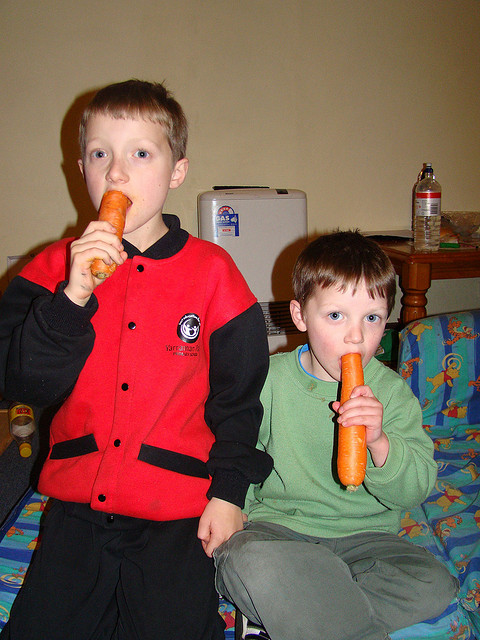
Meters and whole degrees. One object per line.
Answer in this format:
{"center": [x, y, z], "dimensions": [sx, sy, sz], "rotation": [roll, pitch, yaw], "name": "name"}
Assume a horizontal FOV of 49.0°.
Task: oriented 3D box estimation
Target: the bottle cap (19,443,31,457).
{"center": [-0.960, 0.579, 2.336], "dimensions": [0.054, 0.051, 0.039], "rotation": [-12, 16, -3], "name": "bottle cap"}

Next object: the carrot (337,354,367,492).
{"center": [0.200, 0.194, 1.038], "dimensions": [0.061, 0.272, 0.072], "rotation": [2, -11, -9], "name": "carrot"}

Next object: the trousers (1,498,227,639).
{"center": [-0.232, 0.504, 1.029], "dimensions": [0.406, 0.232, 0.253], "rotation": [3, 5, -1], "name": "trousers"}

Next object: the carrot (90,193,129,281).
{"center": [-0.235, -0.158, 0.987], "dimensions": [0.052, 0.167, 0.045], "rotation": [7, -25, 1], "name": "carrot"}

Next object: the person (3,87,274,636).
{"center": [-0.236, 0.038, 1.101], "dimensions": [0.585, 1.135, 0.493], "rotation": [4, 6, 13], "name": "person"}
